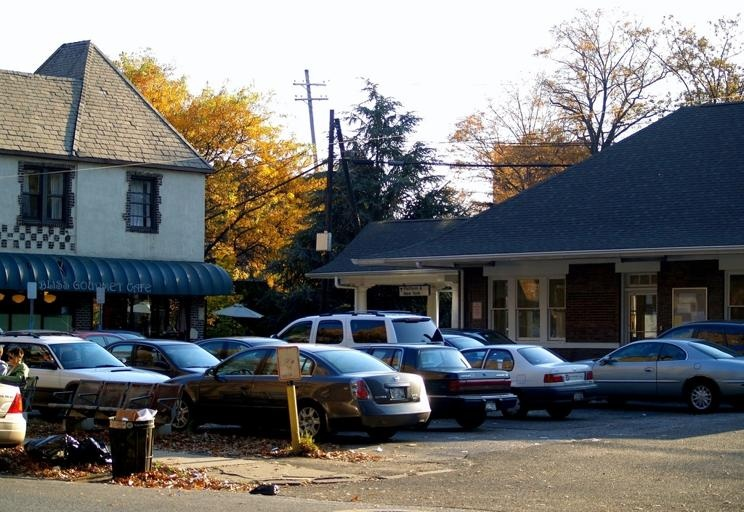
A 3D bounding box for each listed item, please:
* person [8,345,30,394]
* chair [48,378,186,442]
[{"bbox_3d":[-7.983,2.545,26.332,0.421,0.956,2.725,1,-5,-16],"label":"person"},{"bbox_3d":[-5.810,3.367,26.271,3.945,1.096,2.105,-5,-6,42],"label":"chair"}]
